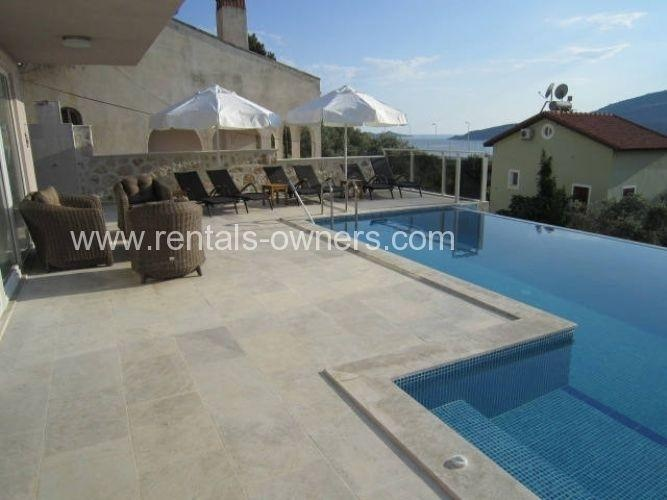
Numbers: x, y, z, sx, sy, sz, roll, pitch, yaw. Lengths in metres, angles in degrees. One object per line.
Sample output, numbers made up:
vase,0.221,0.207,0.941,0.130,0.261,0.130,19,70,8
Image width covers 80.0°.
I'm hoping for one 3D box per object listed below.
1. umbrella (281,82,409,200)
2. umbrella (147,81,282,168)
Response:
umbrella,0.146,-2.364,8.733,1.962,1.555,2.068,14,21,37
umbrella,-2.728,-3.156,9.310,3.043,1.337,2.893,-7,15,-24
